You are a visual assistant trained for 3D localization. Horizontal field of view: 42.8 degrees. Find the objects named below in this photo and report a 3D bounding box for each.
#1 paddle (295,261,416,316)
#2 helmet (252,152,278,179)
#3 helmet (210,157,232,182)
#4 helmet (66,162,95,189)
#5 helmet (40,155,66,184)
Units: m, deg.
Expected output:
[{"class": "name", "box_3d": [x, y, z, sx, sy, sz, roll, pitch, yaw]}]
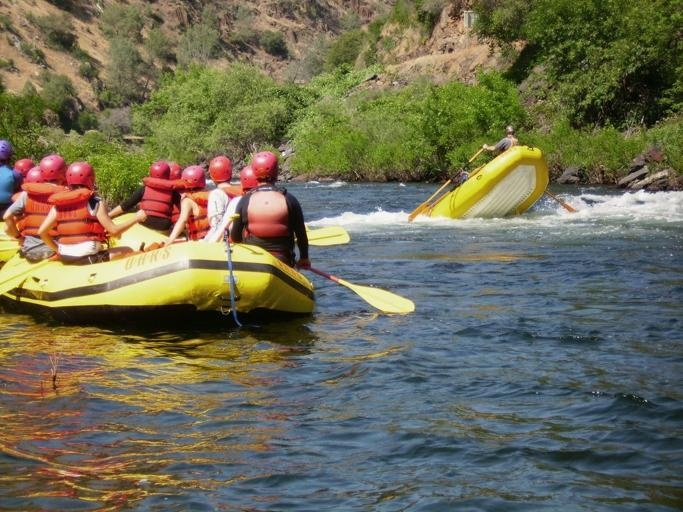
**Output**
[{"class": "paddle", "box_3d": [0.237, 0.444, 11.153, 2.215, 0.392, 0.106, 15, 3, 24]}, {"class": "helmet", "box_3d": [-0.914, -1.092, 10.606, 0.308, 0.349, 0.269, 1, 11, -6]}, {"class": "helmet", "box_3d": [-1.611, -1.183, 11.640, 0.365, 0.337, 0.363, -4, 36, -12]}, {"class": "helmet", "box_3d": [-3.150, -0.977, 10.621, 0.309, 0.323, 0.273, -1, 11, -16]}, {"class": "helmet", "box_3d": [-3.687, -1.153, 11.425, 0.401, 0.349, 0.412, 6, 19, 7]}]
